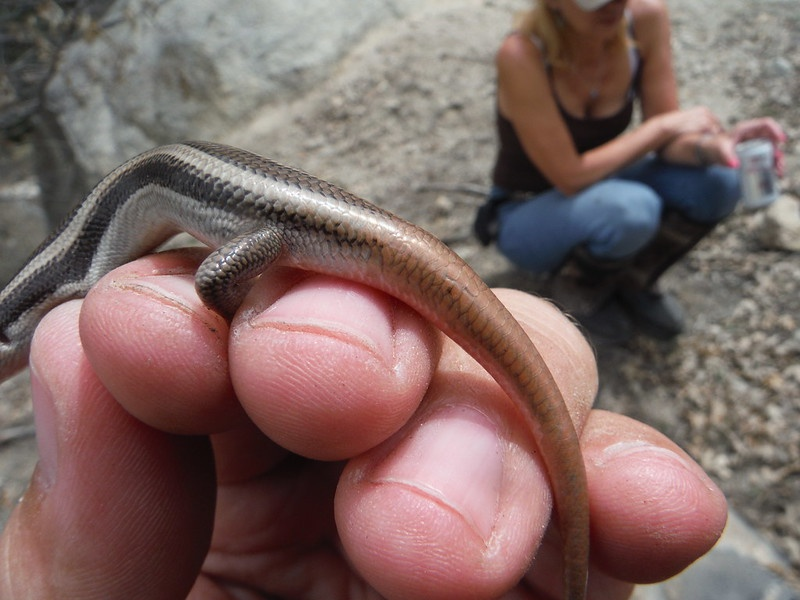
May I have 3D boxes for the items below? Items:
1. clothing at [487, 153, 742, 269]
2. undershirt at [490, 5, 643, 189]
[{"bbox_3d":[0.511,-0.155,1.723,0.473,0.436,0.182,-10,77,38],"label":"clothing"},{"bbox_3d":[0.319,-0.381,1.549,0.214,0.309,0.161,-16,38,-20],"label":"undershirt"}]
